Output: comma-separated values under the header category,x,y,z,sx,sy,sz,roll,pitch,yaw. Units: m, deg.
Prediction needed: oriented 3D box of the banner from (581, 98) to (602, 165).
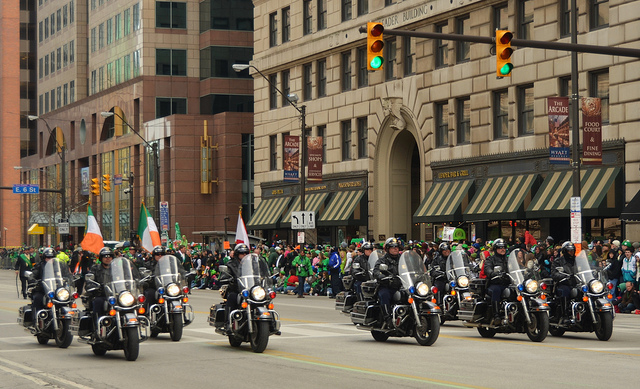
category,x,y,z,sx,sy,sz,roll,pitch,yaw
banner,12.528,-3.036,49.107,0.803,3.138,1.077,-3,-9,21

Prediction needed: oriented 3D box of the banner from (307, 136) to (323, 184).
category,x,y,z,sx,sy,sz,roll,pitch,yaw
banner,-0.291,-2.000,61.351,0.785,2.708,0.900,0,-8,-3

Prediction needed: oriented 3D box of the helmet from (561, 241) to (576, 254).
category,x,y,z,sx,sy,sz,roll,pitch,yaw
helmet,9.111,1.936,38.977,0.358,0.382,0.445,-4,-4,-4

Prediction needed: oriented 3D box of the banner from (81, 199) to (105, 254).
category,x,y,z,sx,sy,sz,roll,pitch,yaw
banner,-10.341,1.497,48.379,1.208,2.910,0.341,-13,40,-22

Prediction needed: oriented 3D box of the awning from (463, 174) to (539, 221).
category,x,y,z,sx,sy,sz,roll,pitch,yaw
awning,9.825,0.193,56.942,3.576,2.355,1.839,0,1,-9

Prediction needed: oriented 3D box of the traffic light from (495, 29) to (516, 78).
category,x,y,z,sx,sy,sz,roll,pitch,yaw
traffic light,7.078,-5.528,40.724,0.625,1.898,1.270,-2,-8,10

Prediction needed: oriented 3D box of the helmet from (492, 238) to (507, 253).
category,x,y,z,sx,sy,sz,roll,pitch,yaw
helmet,6.522,1.830,38.771,0.388,0.398,0.483,1,8,-17

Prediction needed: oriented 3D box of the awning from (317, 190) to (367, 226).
category,x,y,z,sx,sy,sz,roll,pitch,yaw
awning,1.802,1.191,66.412,2.024,2.473,3.848,6,-7,-39

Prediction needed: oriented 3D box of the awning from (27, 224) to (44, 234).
category,x,y,z,sx,sy,sz,roll,pitch,yaw
awning,-27.197,3.406,102.552,1.165,0.654,1.145,1,-2,-14

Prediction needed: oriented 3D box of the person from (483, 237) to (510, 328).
category,x,y,z,sx,sy,sz,roll,pitch,yaw
person,6.376,3.204,38.713,0.875,3.006,0.757,2,-1,5

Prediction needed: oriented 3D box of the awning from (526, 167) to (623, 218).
category,x,y,z,sx,sy,sz,roll,pitch,yaw
awning,12.481,-0.046,53.404,1.936,2.676,4.942,4,-5,-37

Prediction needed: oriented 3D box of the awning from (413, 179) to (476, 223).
category,x,y,z,sx,sy,sz,roll,pitch,yaw
awning,7.402,0.478,59.697,2.144,2.618,4.088,10,-11,-42

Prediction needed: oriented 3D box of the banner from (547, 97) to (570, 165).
category,x,y,z,sx,sy,sz,roll,pitch,yaw
banner,10.897,-3.024,48.508,0.876,2.909,1.436,-2,-8,13

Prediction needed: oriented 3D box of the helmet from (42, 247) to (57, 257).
category,x,y,z,sx,sy,sz,roll,pitch,yaw
helmet,-9.634,2.054,37.977,0.383,0.332,0.589,-1,-8,2

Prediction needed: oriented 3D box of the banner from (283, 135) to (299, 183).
category,x,y,z,sx,sy,sz,roll,pitch,yaw
banner,-1.600,-2.216,61.702,0.839,2.576,1.955,0,-8,-1

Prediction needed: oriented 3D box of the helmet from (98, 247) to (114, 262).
category,x,y,z,sx,sy,sz,roll,pitch,yaw
helmet,-7.321,2.039,36.664,0.408,0.443,0.469,0,0,-24
